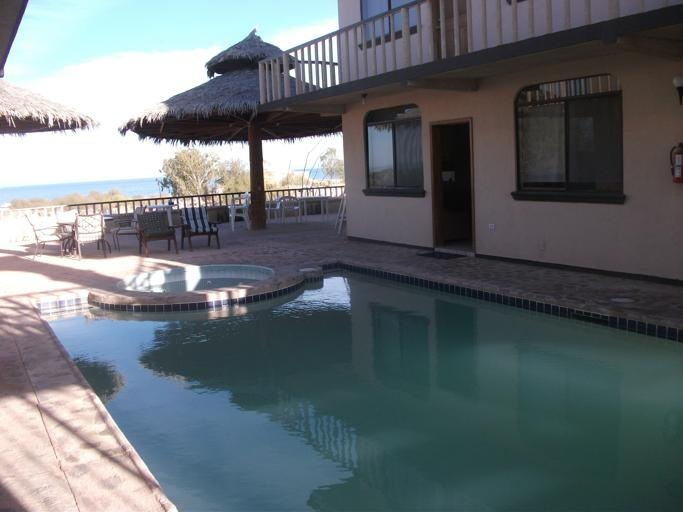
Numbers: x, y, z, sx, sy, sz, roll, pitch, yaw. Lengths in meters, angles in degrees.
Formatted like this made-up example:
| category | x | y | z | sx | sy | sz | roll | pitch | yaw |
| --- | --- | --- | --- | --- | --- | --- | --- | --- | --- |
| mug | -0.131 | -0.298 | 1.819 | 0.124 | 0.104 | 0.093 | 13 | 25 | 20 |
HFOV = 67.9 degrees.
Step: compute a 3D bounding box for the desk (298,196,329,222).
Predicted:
| category | x | y | z | sx | sy | sz | roll | pitch | yaw |
| --- | --- | --- | --- | --- | --- | --- | --- | --- | --- |
| desk | -1.042 | -1.733 | 18.417 | 1.031 | 0.622 | 1.024 | -1 | 3 | -12 |
